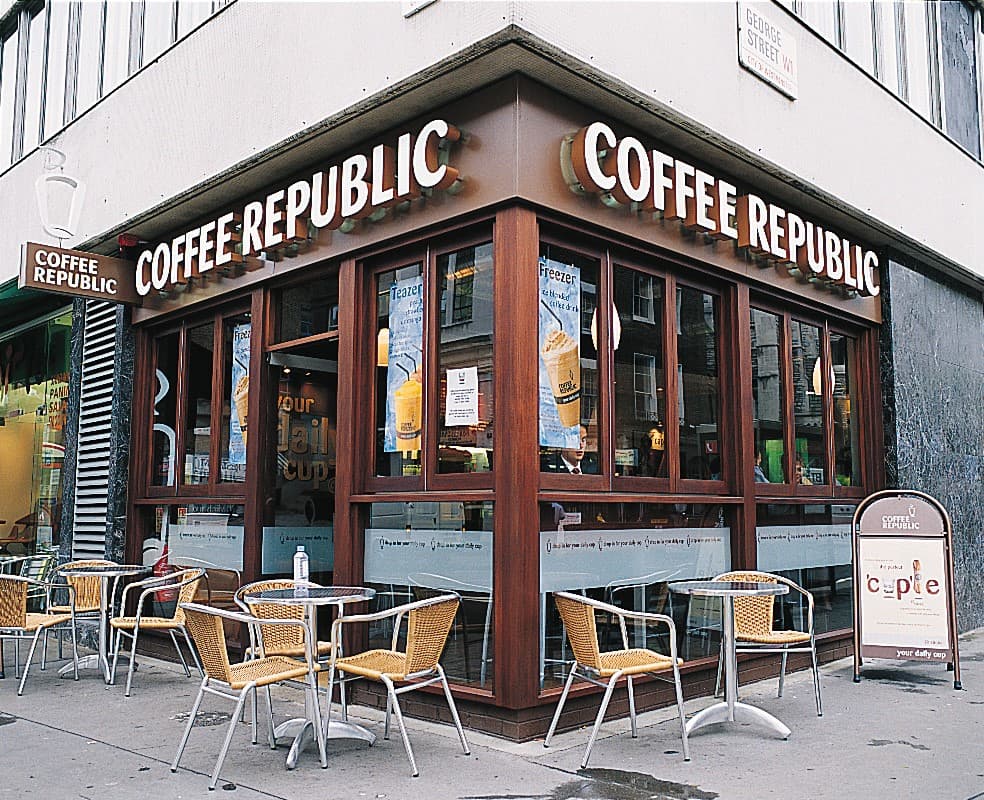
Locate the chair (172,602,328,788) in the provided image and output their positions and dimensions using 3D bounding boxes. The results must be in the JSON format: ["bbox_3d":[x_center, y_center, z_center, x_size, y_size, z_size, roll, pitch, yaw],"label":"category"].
[{"bbox_3d":[-1.562,1.725,6.243,1.077,1.425,1.109,2,-4,-31],"label":"chair"}]

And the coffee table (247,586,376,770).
[{"bbox_3d":[-1.228,1.773,6.306,0.992,1.167,1.028,0,-14,-2],"label":"coffee table"}]

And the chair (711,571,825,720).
[{"bbox_3d":[2.222,2.021,7.595,0.823,1.186,0.845,5,-23,-9],"label":"chair"}]

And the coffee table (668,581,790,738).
[{"bbox_3d":[1.642,1.861,6.909,0.988,1.071,0.953,-4,-7,42],"label":"coffee table"}]
